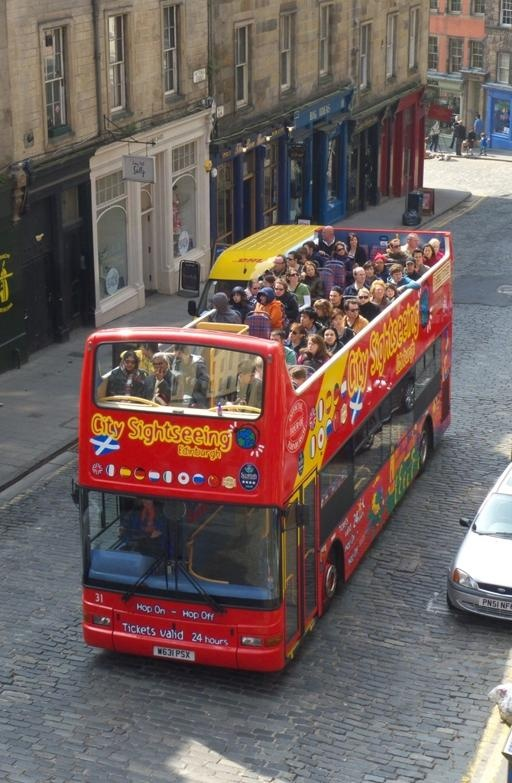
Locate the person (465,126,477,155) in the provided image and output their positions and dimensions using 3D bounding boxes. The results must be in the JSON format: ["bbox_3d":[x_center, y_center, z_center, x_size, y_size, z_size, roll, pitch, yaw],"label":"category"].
[{"bbox_3d":[10.831,-12.602,56.603,0.453,1.132,2.093,4,15,14],"label":"person"}]

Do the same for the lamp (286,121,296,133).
[{"bbox_3d":[1.016,-7.617,32.517,0.154,0.325,0.824,3,15,9],"label":"lamp"}]

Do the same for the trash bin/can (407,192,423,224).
[{"bbox_3d":[5.097,-5.960,36.617,0.584,1.078,0.654,2,14,7],"label":"trash bin/can"}]

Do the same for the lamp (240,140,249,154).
[{"bbox_3d":[-0.296,-6.451,29.551,0.234,0.484,0.241,-1,11,-9],"label":"lamp"}]

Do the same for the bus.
[{"bbox_3d":[0.263,-0.045,12.761,2.306,3.201,7.000,4,21,16],"label":"bus"}]

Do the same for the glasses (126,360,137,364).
[{"bbox_3d":[-1.074,-0.244,9.633,0.092,0.047,0.030,-1,14,-6],"label":"glasses"}]

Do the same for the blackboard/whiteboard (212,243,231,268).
[{"bbox_3d":[-0.652,-2.520,20.114,0.420,0.249,0.645,0,13,0],"label":"blackboard/whiteboard"}]

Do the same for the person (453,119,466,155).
[{"bbox_3d":[10.069,-12.501,55.557,0.548,1.586,1.682,3,15,9],"label":"person"}]

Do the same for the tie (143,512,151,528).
[{"bbox_3d":[-0.953,1.132,9.827,0.078,0.116,0.116,-1,3,6],"label":"tie"}]

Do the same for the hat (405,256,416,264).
[{"bbox_3d":[2.314,-1.977,16.939,0.114,0.097,0.216,-2,10,15],"label":"hat"}]

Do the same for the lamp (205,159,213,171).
[{"bbox_3d":[-1.204,-5.578,27.758,0.165,0.310,0.453,1,15,4],"label":"lamp"}]
